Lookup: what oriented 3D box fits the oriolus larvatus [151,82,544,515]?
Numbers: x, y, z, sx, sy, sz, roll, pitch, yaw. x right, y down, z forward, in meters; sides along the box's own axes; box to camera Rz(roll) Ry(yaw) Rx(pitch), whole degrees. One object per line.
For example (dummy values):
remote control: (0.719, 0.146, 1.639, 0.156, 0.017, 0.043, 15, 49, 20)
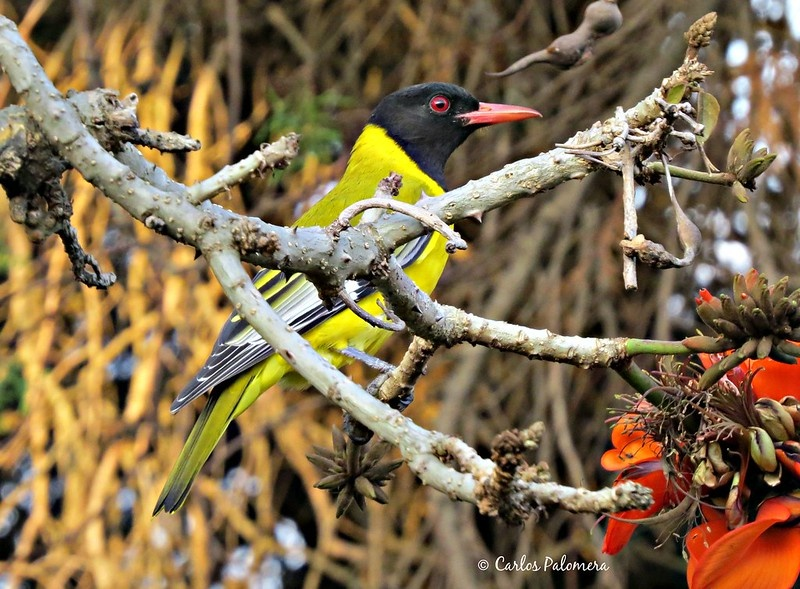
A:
oriolus larvatus: (-0.336, 0.027, 4.471, 1.432, 1.823, 0.657, -2, -8, 3)
